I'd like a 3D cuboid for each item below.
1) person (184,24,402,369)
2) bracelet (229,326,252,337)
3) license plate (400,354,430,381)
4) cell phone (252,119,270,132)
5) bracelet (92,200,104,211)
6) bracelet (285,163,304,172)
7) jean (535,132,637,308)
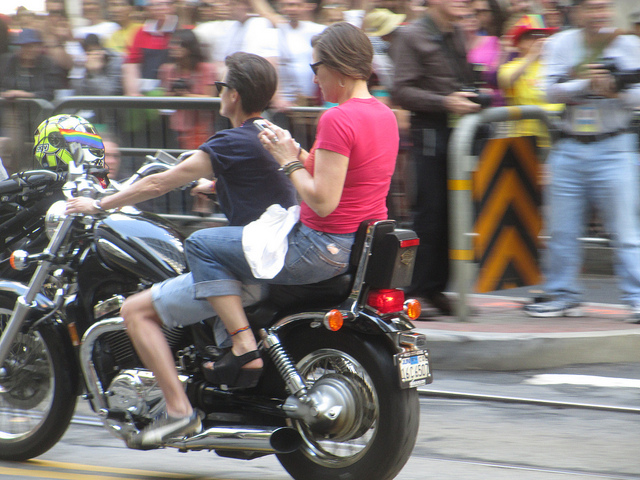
[{"bbox_3d":[-0.145,-0.213,5.624,1.220,1.875,0.491,-6,18,-5],"label":"person"},{"bbox_3d":[-0.423,0.485,5.624,0.078,0.014,0.067,-20,-4,6],"label":"bracelet"},{"bbox_3d":[0.488,0.676,5.507,0.213,0.096,0.027,-3,-8,-39],"label":"license plate"},{"bbox_3d":[-0.309,-0.634,5.634,0.091,0.015,0.073,2,27,-26],"label":"cell phone"},{"bbox_3d":[-1.245,-0.200,5.897,0.026,0.055,0.051,-25,17,27],"label":"bracelet"},{"bbox_3d":[-0.127,-0.390,5.515,0.089,0.047,0.030,-7,16,-20],"label":"bracelet"},{"bbox_3d":[2.161,-0.166,8.187,0.799,1.375,0.493,6,20,32],"label":"jean"}]
